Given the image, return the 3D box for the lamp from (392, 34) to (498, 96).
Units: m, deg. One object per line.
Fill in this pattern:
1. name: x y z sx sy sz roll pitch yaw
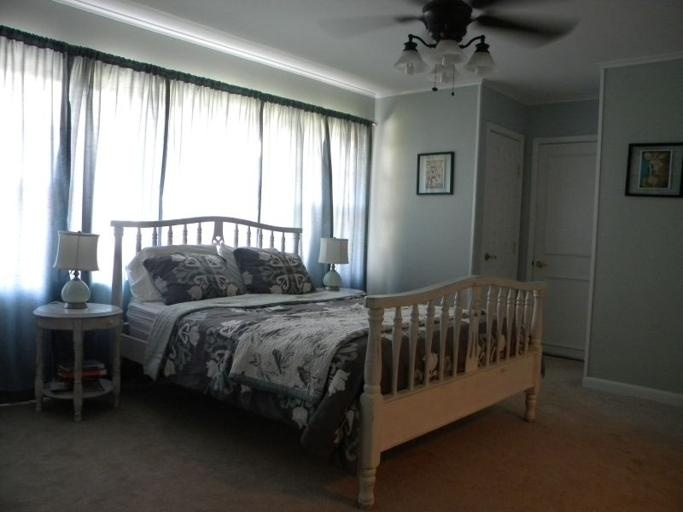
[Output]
1. lamp: 0.743 -1.400 3.643 0.666 0.486 0.690 3 7 -6

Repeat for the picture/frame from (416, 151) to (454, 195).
1. picture/frame: 1.043 -0.922 5.625 0.486 0.536 0.037 2 1 44

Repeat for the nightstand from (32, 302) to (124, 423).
1. nightstand: -1.944 0.749 3.780 0.523 0.755 0.558 2 3 -2

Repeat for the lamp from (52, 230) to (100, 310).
1. lamp: -1.958 0.089 3.751 0.282 0.557 0.405 -3 10 -30

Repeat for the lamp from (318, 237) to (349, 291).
1. lamp: -0.086 0.084 5.414 0.452 0.539 0.460 5 -2 -23

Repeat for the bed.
1. bed: -0.223 0.459 4.039 3.030 1.355 2.166 9 11 39
